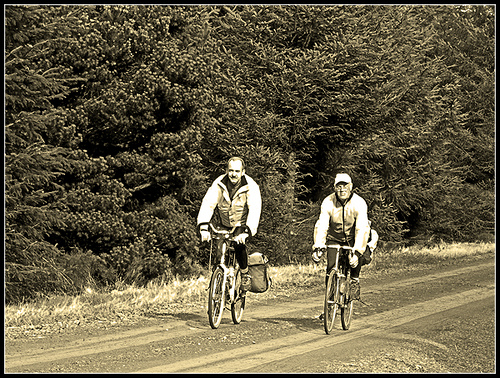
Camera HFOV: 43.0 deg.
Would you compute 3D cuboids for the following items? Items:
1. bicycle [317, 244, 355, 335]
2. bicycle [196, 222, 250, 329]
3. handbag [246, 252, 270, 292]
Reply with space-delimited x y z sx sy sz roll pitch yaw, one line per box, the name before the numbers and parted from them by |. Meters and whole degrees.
bicycle | 1.637 1.938 12.219 0.670 1.732 1.075 -1 -3 8
bicycle | -0.468 1.692 12.464 0.787 2.065 1.175 -2 -3 17
handbag | 0.131 1.729 13.108 0.606 1.062 0.786 -1 -4 -1
